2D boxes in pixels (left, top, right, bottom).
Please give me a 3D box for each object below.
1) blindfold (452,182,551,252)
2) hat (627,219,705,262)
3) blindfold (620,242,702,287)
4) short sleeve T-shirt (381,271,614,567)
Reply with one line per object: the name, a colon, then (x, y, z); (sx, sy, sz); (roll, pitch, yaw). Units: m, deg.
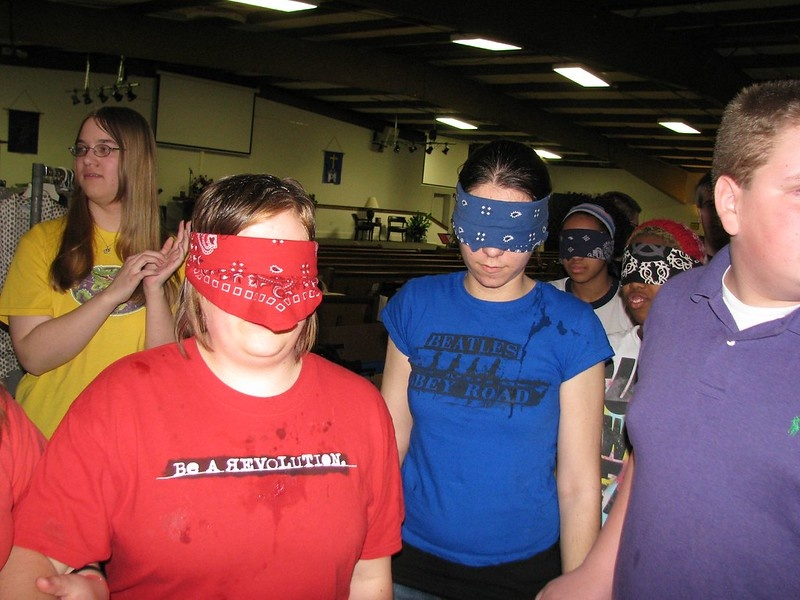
blindfold: (0.335, -0.241, 2.252); (0.245, 0.152, 0.243); (8, -6, 20)
hat: (1.186, -0.257, 2.904); (0.226, 0.073, 0.224); (24, -3, 9)
blindfold: (1.056, -0.138, 2.768); (0.235, 0.135, 0.240); (0, -21, 26)
short sleeve T-shirt: (0.318, 0.415, 2.222); (0.965, 0.995, 0.534); (4, 2, 16)
